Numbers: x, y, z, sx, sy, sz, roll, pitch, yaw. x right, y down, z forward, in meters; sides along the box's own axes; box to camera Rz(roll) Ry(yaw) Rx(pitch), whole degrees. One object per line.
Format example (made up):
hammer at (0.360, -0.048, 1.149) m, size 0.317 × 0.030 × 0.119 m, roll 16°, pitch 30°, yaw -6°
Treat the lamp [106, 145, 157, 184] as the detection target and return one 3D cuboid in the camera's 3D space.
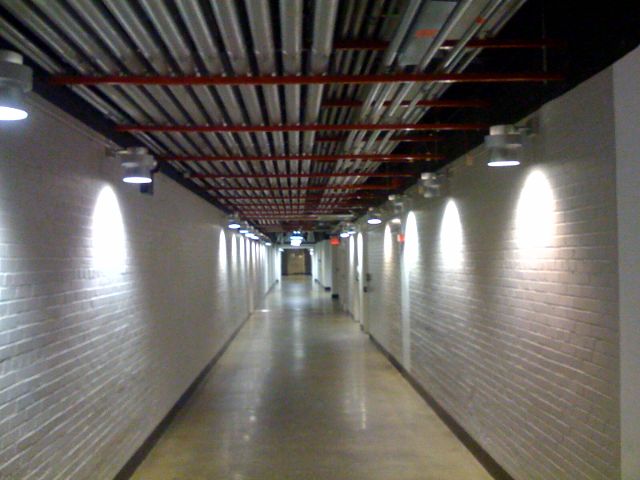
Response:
lamp at (-1.569, -0.632, 3.695) m, size 0.416 × 0.216 × 0.227 m, roll -2°, pitch 3°, yaw 5°
